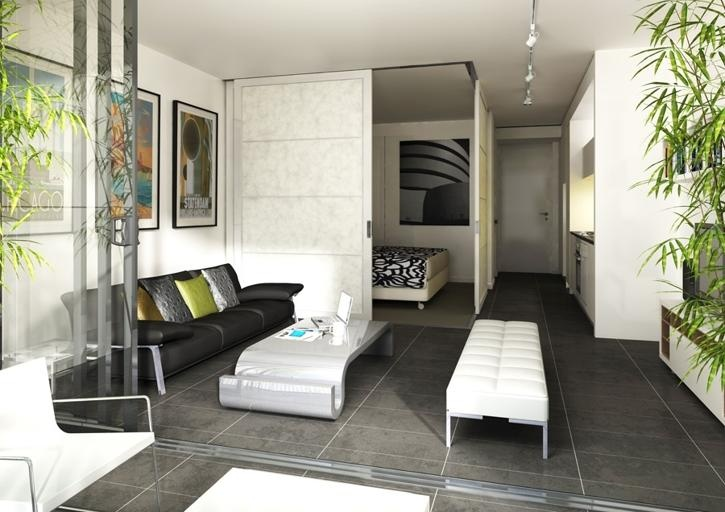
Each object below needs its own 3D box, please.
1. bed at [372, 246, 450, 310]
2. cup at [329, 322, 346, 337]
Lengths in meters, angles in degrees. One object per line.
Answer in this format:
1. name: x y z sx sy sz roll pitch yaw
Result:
1. bed: 0.811 0.295 8.365 1.206 0.599 1.749 -1 8 25
2. cup: -0.215 0.669 4.407 0.121 0.089 0.092 -2 -2 2
